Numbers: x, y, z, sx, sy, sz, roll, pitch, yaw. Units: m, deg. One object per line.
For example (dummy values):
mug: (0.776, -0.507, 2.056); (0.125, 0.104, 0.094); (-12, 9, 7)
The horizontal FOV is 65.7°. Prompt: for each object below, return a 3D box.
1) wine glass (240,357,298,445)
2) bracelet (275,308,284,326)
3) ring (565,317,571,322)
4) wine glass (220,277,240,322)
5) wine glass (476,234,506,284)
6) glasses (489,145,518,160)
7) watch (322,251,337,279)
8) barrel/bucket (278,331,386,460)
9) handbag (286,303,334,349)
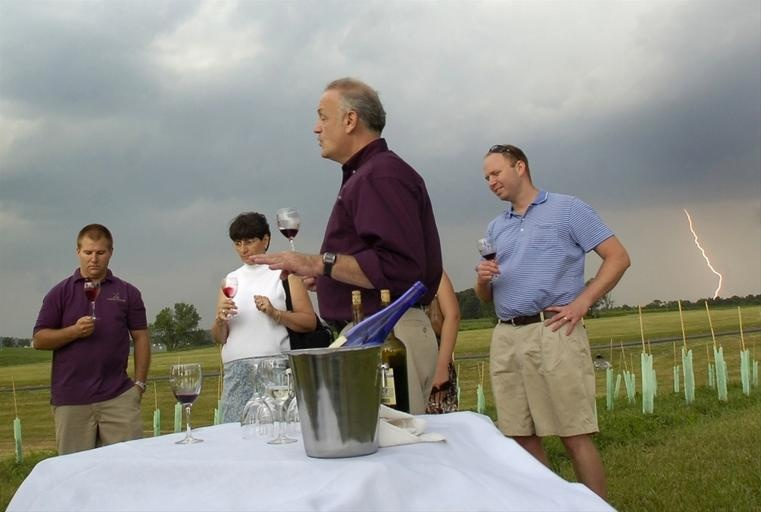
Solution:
wine glass: (-0.577, 0.688, 2.847); (0.367, 0.424, 0.253); (-2, -10, 24)
bracelet: (-0.741, 0.451, 4.332); (0.039, 0.098, 0.068); (-7, 2, 12)
ring: (1.313, 0.442, 4.134); (0.040, 0.023, 0.029); (-9, -11, 15)
wine glass: (-1.104, 0.293, 4.323); (0.118, 0.300, 0.225); (-2, -11, -16)
wine glass: (0.800, 0.015, 4.361); (0.121, 0.286, 0.355); (-7, -11, 14)
glasses: (0.979, -0.782, 4.559); (0.138, 0.073, 0.149); (3, -21, 24)
watch: (-0.270, 0.036, 3.055); (0.061, 0.114, 0.108); (4, -17, -2)
barrel/bucket: (-0.182, 0.592, 2.490); (0.409, 0.399, 0.400); (-4, -14, -1)
handbag: (-0.515, 0.494, 4.459); (0.327, 0.509, 0.253); (3, -11, -43)
